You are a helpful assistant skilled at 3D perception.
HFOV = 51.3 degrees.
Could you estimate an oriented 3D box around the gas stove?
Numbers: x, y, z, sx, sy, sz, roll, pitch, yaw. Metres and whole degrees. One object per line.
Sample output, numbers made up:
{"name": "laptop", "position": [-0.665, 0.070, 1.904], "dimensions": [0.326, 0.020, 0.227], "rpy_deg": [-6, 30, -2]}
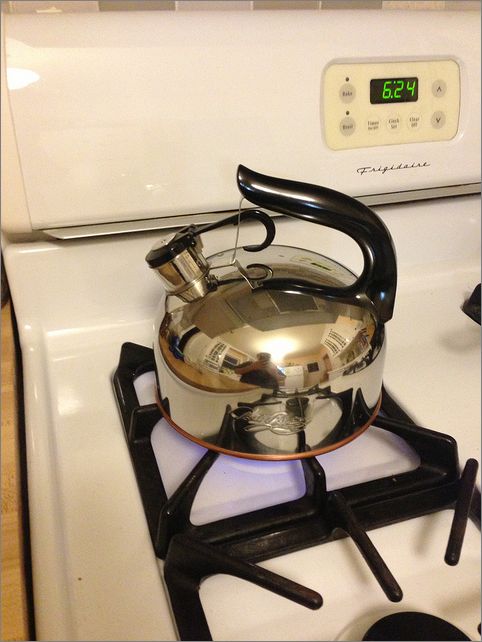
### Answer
{"name": "gas stove", "position": [0.033, 0.085, 0.405], "dimensions": [0.245, 0.076, 0.319], "rpy_deg": [-12, 38, -17]}

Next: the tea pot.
{"name": "tea pot", "position": [0.019, -0.013, 0.434], "dimensions": [0.197, 0.217, 0.197], "rpy_deg": [3, 34, -2]}
